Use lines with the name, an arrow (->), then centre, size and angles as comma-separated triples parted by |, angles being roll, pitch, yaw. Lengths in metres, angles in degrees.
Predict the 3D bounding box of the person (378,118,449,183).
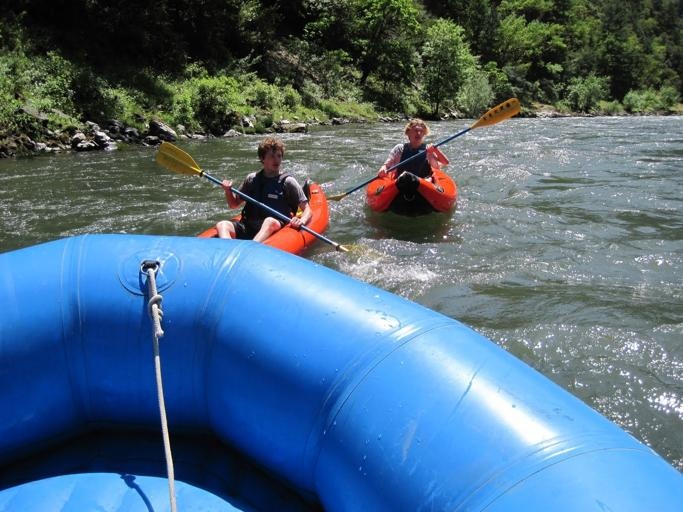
person -> 0.785, -1.038, 6.469 | 0.739, 0.891, 0.542 | 6, -1, -2

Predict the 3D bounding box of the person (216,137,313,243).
person -> -0.636, -0.538, 4.818 | 0.786, 0.798, 0.801 | 2, 23, -4
